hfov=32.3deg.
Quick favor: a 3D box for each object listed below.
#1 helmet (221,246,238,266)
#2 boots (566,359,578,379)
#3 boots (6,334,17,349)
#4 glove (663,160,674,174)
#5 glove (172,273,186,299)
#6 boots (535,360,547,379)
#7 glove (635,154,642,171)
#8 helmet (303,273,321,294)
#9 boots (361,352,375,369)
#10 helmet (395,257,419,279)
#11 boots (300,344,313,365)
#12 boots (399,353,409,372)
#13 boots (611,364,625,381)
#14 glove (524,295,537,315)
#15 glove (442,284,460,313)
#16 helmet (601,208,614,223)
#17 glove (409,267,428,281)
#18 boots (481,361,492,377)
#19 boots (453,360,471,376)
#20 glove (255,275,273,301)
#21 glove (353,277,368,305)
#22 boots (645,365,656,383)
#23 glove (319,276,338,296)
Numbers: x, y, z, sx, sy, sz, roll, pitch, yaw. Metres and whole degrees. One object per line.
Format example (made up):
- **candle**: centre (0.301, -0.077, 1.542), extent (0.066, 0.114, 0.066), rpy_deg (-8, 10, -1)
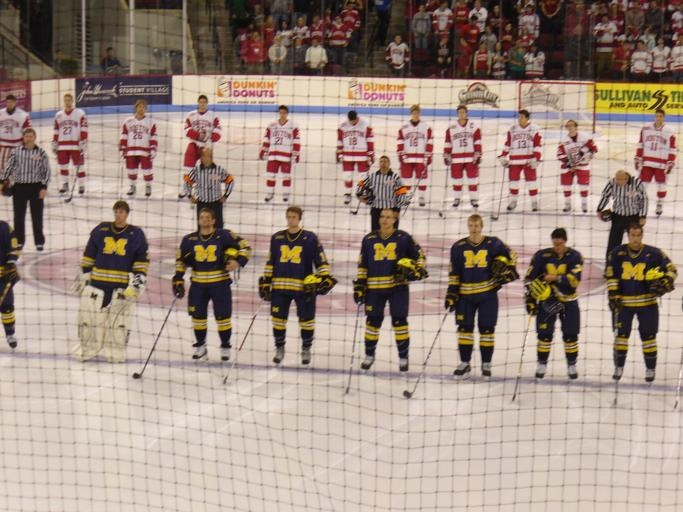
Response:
- **helmet**: centre (-1.590, -0.002, 16.869), extent (0.208, 0.198, 0.161), rpy_deg (12, 2, 15)
- **boots**: centre (3.273, 1.588, 16.692), extent (0.143, 0.273, 0.145), rpy_deg (2, 12, 11)
- **boots**: centre (-4.874, 1.229, 17.437), extent (0.150, 0.193, 0.279), rpy_deg (-4, 12, -16)
- **glove**: centre (6.714, -1.821, 24.213), extent (0.190, 0.235, 0.076), rpy_deg (2, 11, -33)
- **glove**: centre (-2.341, 0.424, 16.923), extent (0.120, 0.311, 0.230), rpy_deg (-11, -19, 36)
- **boots**: centre (2.823, 1.588, 16.726), extent (0.140, 0.231, 0.232), rpy_deg (2, 12, 11)
- **glove**: centre (6.057, -1.890, 24.137), extent (0.182, 0.248, 0.101), rpy_deg (-6, 11, -14)
- **helmet**: centre (-0.411, 0.386, 16.800), extent (0.245, 0.241, 0.143), rpy_deg (-4, 12, -17)
- **boots**: centre (0.378, 1.483, 16.970), extent (0.189, 0.218, 0.352), rpy_deg (-1, 11, 0)
- **helmet**: centre (0.921, 0.156, 16.664), extent (0.223, 0.296, 0.293), rpy_deg (20, 27, 38)
- **boots**: centre (-0.511, 1.417, 17.048), extent (0.103, 0.134, 0.309), rpy_deg (0, 23, -4)
- **boots**: centre (0.884, 1.512, 16.844), extent (0.117, 0.237, 0.144), rpy_deg (-1, 11, -1)
- **boots**: centre (3.907, 1.633, 16.616), extent (0.173, 0.198, 0.099), rpy_deg (-6, 13, -26)
- **glove**: centre (2.681, 0.692, 16.649), extent (0.148, 0.301, 0.227), rpy_deg (1, 11, 6)
- **glove**: centre (1.566, 0.594, 16.818), extent (0.207, 0.353, 0.149), rpy_deg (6, -18, 17)
- **helmet**: centre (4.563, -0.685, 20.261), extent (0.167, 0.183, 0.203), rpy_deg (0, 3, 10)
- **glove**: centre (1.071, 0.244, 16.684), extent (0.187, 0.097, 0.249), rpy_deg (2, 9, 11)
- **boots**: centre (2.056, 1.593, 16.779), extent (0.179, 0.295, 0.176), rpy_deg (-1, 1, 2)
- **boots**: centre (1.706, 1.584, 16.758), extent (0.136, 0.185, 0.250), rpy_deg (10, 15, 42)
- **glove**: centre (-1.112, 0.447, 17.042), extent (0.229, 0.316, 0.123), rpy_deg (-1, 7, 0)
- **glove**: centre (0.251, 0.497, 16.888), extent (0.231, 0.333, 0.140), rpy_deg (-2, 11, 5)
- **boots**: centre (4.361, 1.646, 16.646), extent (0.130, 0.207, 0.277), rpy_deg (2, 12, 15)
- **glove**: centre (-0.167, 0.381, 16.858), extent (0.139, 0.169, 0.385), rpy_deg (22, 37, 16)
